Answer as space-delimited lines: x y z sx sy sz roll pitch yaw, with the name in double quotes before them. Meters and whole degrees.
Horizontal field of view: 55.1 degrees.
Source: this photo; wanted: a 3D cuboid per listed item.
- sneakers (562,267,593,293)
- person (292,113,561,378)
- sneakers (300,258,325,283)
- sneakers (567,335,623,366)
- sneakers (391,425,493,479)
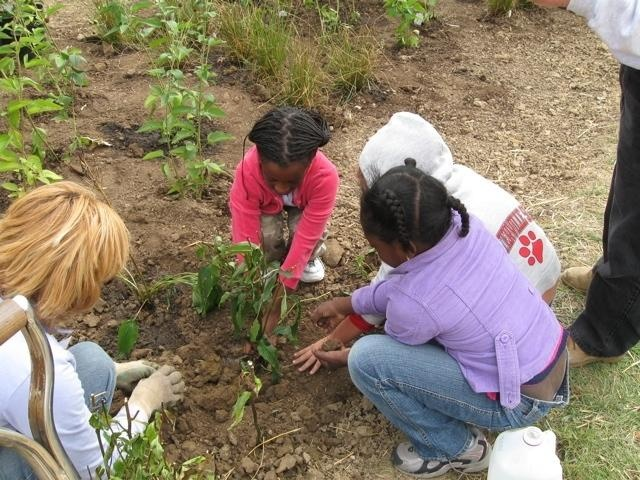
"sneakers" 1.476 0.228 3.508 0.098 0.061 0.147 28 -3 -37
"person" 0.658 -0.160 3.071 1.420 1.386 0.891 1 46 3
"sneakers" -0.050 0.177 3.486 0.100 0.115 0.155 0 -2 1
"sneakers" 1.371 0.546 3.079 0.234 0.168 0.078 -10 52 2
"sneakers" 0.553 1.024 2.870 0.555 0.272 0.185 -4 54 0
